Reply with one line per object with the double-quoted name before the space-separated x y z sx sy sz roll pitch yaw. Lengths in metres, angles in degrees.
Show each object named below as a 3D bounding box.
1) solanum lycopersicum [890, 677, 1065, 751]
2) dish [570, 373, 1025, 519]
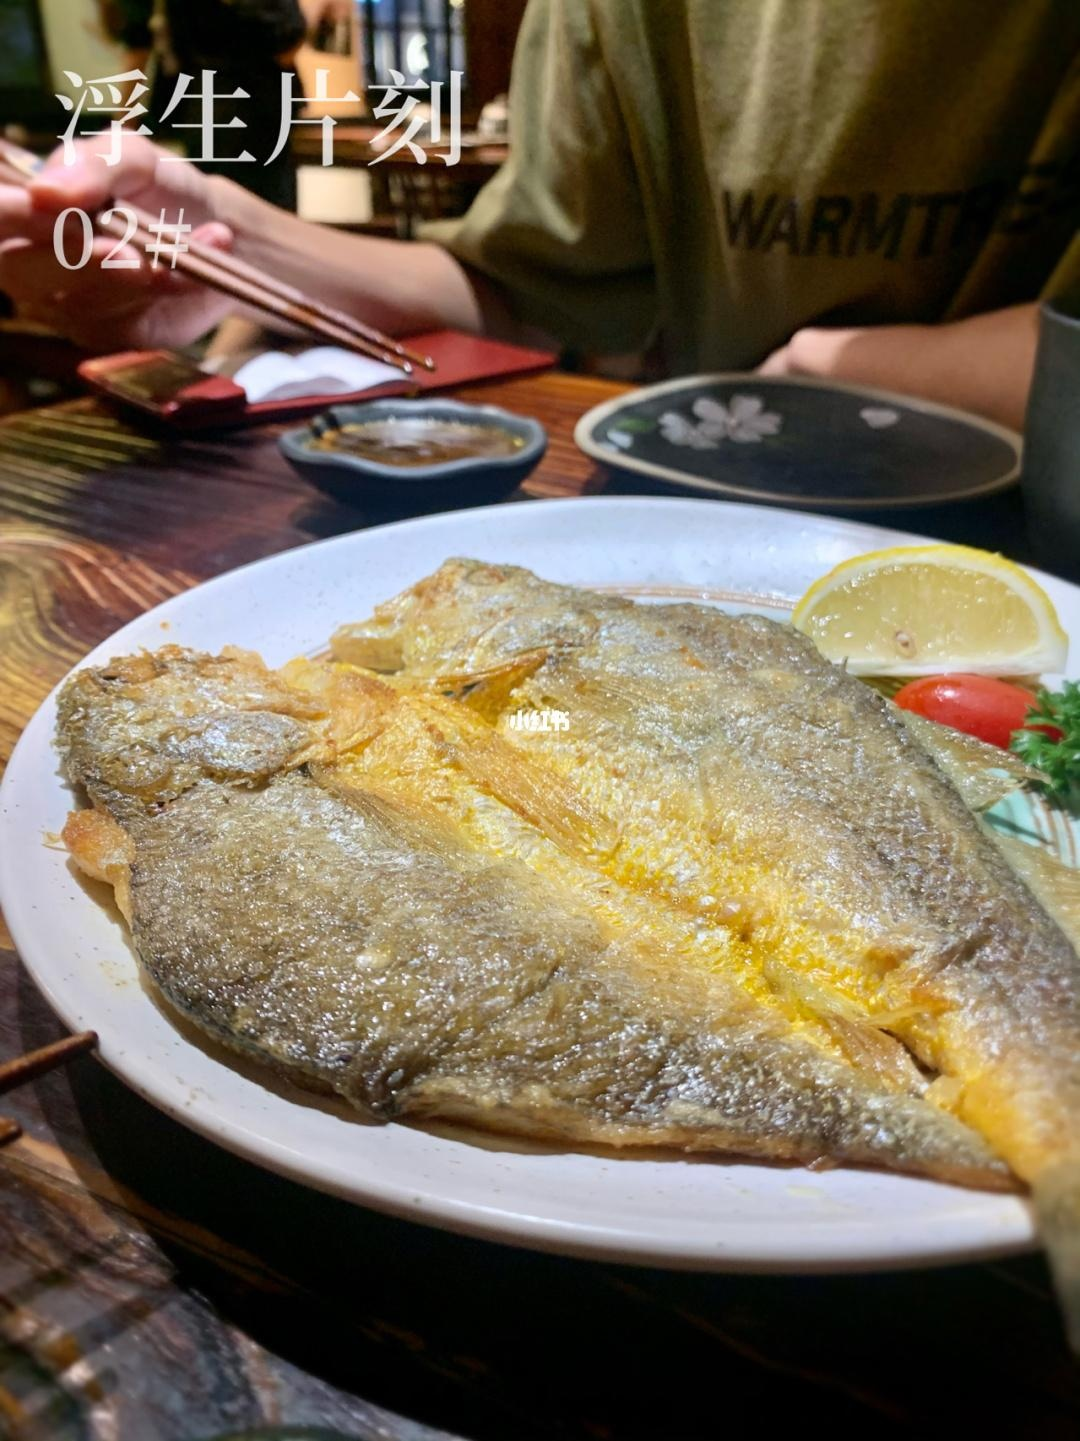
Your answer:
"solanum lycopersicum" 0.504 -0.022 1.599 0.169 0.073 0.086 12 46 23
"dish" 0.396 -0.416 2.086 0.470 0.051 0.300 9 34 12
